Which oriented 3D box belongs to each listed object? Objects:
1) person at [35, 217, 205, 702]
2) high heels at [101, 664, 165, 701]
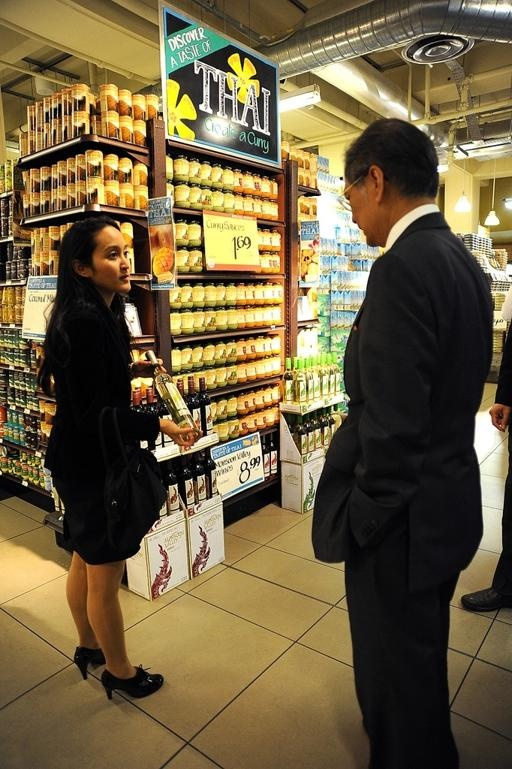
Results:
[{"bbox_3d":[-0.507,0.319,1.845,0.428,1.775,0.508,-4,6,-24],"label":"person"},{"bbox_3d":[-0.460,1.124,1.967,0.212,0.120,0.110,-1,-3,-22],"label":"high heels"}]
